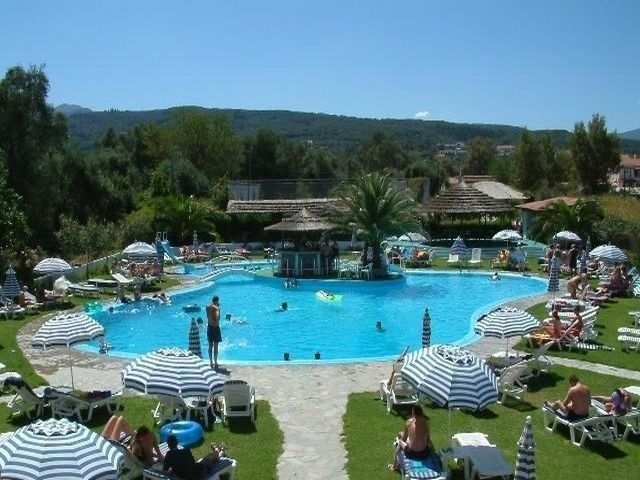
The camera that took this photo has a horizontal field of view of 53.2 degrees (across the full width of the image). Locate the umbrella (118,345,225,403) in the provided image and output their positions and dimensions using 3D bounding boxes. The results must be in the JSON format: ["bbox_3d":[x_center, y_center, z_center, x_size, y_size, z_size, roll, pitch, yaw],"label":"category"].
[{"bbox_3d":[-3.342,3.163,14.581,2.155,1.163,0.978,-2,6,3],"label":"umbrella"}]

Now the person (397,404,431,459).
[{"bbox_3d":[2.072,4.079,13.771,0.609,1.124,0.999,0,6,2],"label":"person"}]

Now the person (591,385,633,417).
[{"bbox_3d":[7.119,3.810,15.360,0.807,0.533,0.881,-3,7,-6],"label":"person"}]

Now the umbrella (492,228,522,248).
[{"bbox_3d":[12.429,-0.102,42.828,1.015,1.233,1.080,7,11,33],"label":"umbrella"}]

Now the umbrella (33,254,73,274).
[{"bbox_3d":[-11.389,1.093,27.192,1.148,0.578,1.210,-1,5,-28],"label":"umbrella"}]

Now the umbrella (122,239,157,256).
[{"bbox_3d":[-8.959,0.486,31.754,0.970,0.504,1.138,3,8,12],"label":"umbrella"}]

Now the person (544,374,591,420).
[{"bbox_3d":[5.989,3.809,15.560,0.581,1.084,1.266,9,-6,-19],"label":"person"}]

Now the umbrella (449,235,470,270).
[{"bbox_3d":[8.999,0.857,41.247,1.357,2.260,1.232,-6,10,-22],"label":"umbrella"}]

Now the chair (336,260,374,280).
[{"bbox_3d":[1.980,1.680,36.116,1.922,0.841,1.513,-3,7,1],"label":"chair"}]

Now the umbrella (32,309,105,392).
[{"bbox_3d":[-7.010,3.181,17.729,1.738,2.471,1.910,-3,5,-6],"label":"umbrella"}]

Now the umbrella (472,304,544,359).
[{"bbox_3d":[5.326,2.350,18.110,1.311,1.142,1.432,-5,10,-10],"label":"umbrella"}]
